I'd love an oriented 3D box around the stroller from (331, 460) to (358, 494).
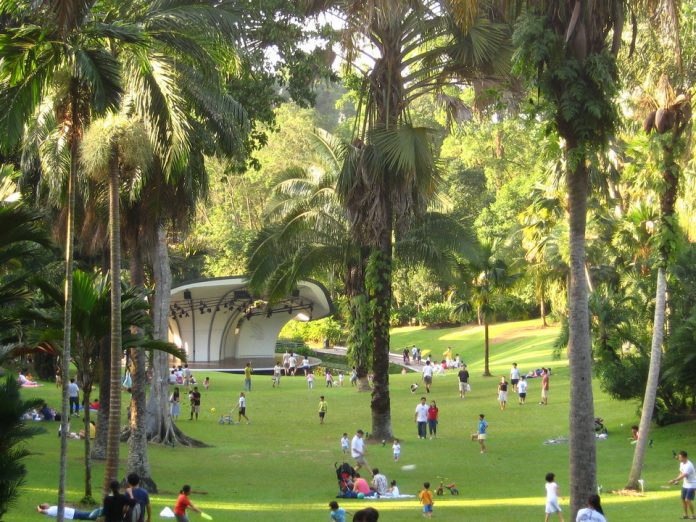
[{"bbox_3d":[-0.100,6.984,41.011,0.511,1.008,0.887,3,-14,-14],"label":"stroller"}]
